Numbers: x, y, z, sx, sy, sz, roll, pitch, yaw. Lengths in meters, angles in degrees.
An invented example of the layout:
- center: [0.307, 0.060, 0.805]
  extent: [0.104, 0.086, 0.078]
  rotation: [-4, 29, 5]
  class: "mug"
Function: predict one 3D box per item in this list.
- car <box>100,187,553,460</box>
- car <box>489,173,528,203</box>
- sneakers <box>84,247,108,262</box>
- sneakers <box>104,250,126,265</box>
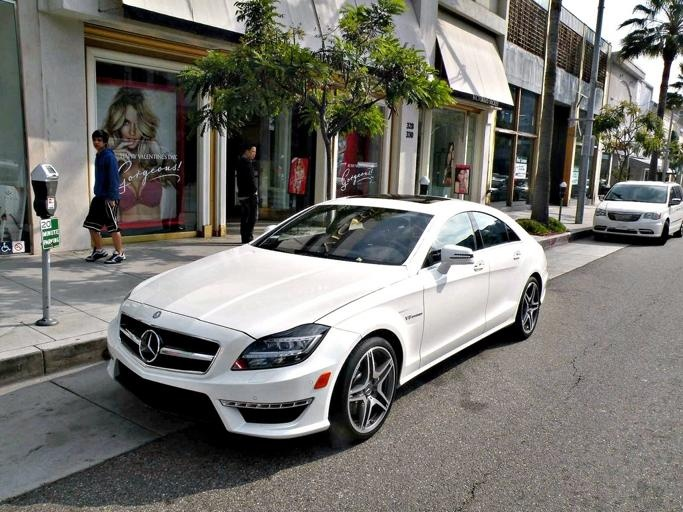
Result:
- center: [0.419, 0.269, 4.868]
  extent: [2.129, 1.857, 5.363]
  rotation: [12, 15, 43]
  class: "car"
- center: [8.463, -3.517, 23.083]
  extent: [3.329, 1.226, 1.489]
  rotation: [-4, 9, -45]
  class: "car"
- center: [-4.554, -0.028, 7.983]
  extent: [0.162, 0.235, 0.457]
  rotation: [3, 8, 43]
  class: "sneakers"
- center: [-4.111, 0.008, 7.981]
  extent: [0.142, 0.208, 0.424]
  rotation: [9, 9, 17]
  class: "sneakers"
